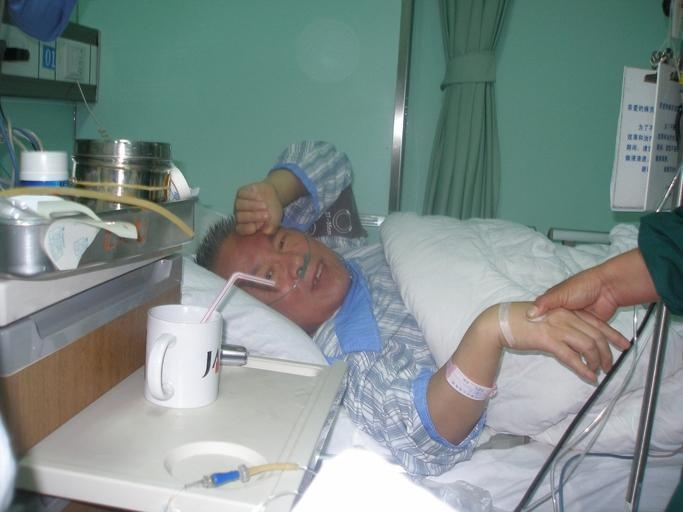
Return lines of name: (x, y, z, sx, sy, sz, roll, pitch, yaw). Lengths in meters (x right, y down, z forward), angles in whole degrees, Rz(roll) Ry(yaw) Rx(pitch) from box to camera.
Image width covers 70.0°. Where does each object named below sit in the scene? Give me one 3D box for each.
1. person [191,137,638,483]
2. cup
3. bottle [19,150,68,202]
person: (0.078, 0.215, 1.425, 1.142, 0.415, 0.786, 14, 49, 17)
cup: (-0.221, 0.152, 0.802, 0.099, 0.137, 0.165, 5, 14, 5)
bottle: (-0.408, -0.111, 0.669, 0.056, 0.059, 0.059, 3, 7, 19)
